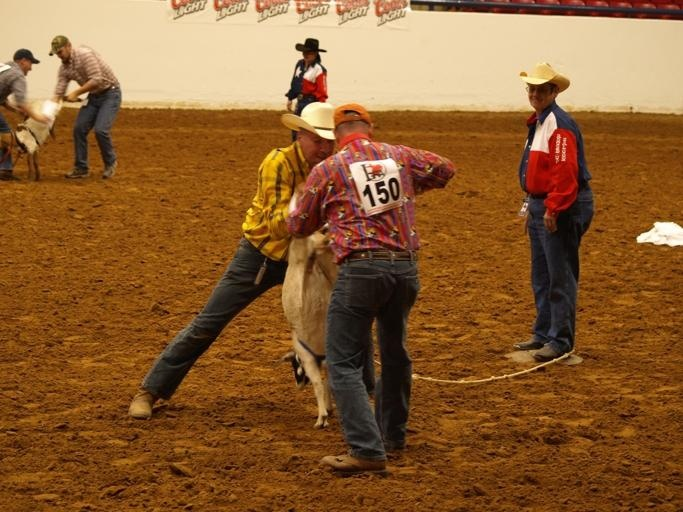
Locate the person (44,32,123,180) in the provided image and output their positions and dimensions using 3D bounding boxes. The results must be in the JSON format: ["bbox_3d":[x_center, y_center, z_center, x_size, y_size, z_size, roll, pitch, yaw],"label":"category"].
[{"bbox_3d":[-4.011,-2.320,10.577,1.072,2.269,0.927,-8,19,-13],"label":"person"}]

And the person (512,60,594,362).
[{"bbox_3d":[1.802,-0.345,5.654,0.600,2.528,0.749,1,20,14],"label":"person"}]

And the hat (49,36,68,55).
[{"bbox_3d":[-4.334,-3.222,10.255,0.253,0.311,0.822,-9,14,-18],"label":"hat"}]

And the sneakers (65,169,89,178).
[{"bbox_3d":[-4.385,-1.350,11.045,0.401,0.106,0.135,1,6,-20],"label":"sneakers"}]
